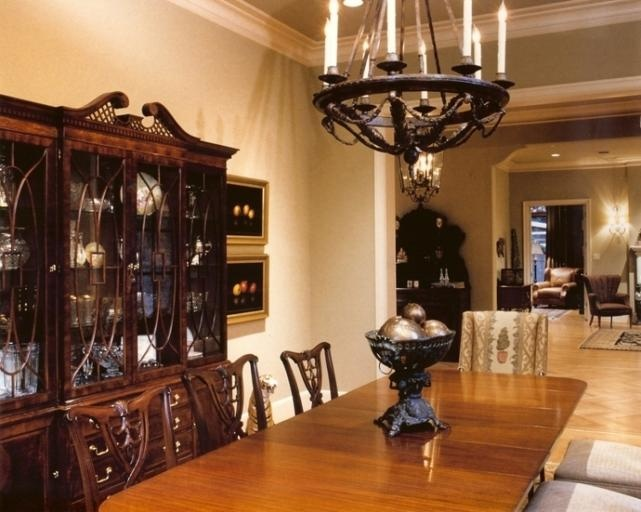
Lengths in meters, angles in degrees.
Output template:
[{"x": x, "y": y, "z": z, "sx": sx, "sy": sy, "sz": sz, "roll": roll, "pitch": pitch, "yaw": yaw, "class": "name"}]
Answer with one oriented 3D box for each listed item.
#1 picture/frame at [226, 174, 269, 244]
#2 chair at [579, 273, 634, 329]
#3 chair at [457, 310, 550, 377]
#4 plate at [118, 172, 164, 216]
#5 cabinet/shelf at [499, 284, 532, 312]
[{"x": -0.633, "y": -0.399, "z": 4.524, "sx": 0.057, "sy": 0.605, "sz": 0.587, "roll": -2, "pitch": -2, "yaw": 32, "class": "picture/frame"}, {"x": 5.690, "y": 0.913, "z": 10.783, "sx": 0.944, "sy": 1.255, "sz": 1.042, "roll": 0, "pitch": -6, "yaw": -10, "class": "chair"}, {"x": 1.258, "y": 0.581, "z": 3.759, "sx": 0.443, "sy": 0.721, "sz": 0.498, "roll": 0, "pitch": -9, "yaw": 22, "class": "chair"}, {"x": -1.061, "y": -0.378, "z": 3.241, "sx": 0.199, "sy": 0.265, "sz": 0.216, "roll": -1, "pitch": -11, "yaw": 1, "class": "plate"}, {"x": 3.467, "y": 0.742, "z": 9.583, "sx": 0.439, "sy": 0.569, "sz": 0.737, "roll": 1, "pitch": -1, "yaw": 27, "class": "cabinet/shelf"}]
